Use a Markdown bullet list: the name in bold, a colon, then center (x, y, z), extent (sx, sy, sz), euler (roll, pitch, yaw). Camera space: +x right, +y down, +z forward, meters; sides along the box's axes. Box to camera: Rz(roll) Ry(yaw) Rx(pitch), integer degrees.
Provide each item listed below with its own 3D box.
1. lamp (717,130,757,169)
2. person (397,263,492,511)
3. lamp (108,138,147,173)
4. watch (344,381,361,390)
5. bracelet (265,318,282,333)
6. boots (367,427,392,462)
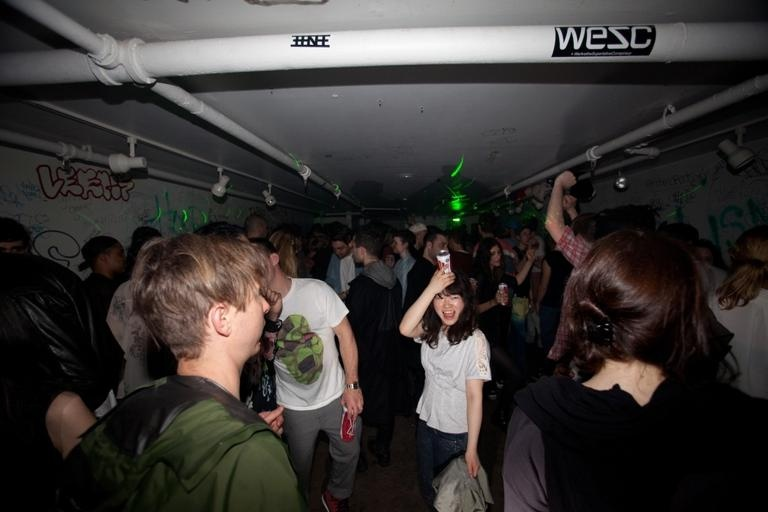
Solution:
- **lamp**: center (3.804, -1.157, 5.113), extent (0.262, 0.277, 0.509), euler (-19, -50, 29)
- **person**: center (0.528, 1.105, 4.039), extent (0.742, 2.005, 0.469), euler (-1, -1, 17)
- **lamp**: center (-2.779, -1.083, 5.180), extent (0.389, 0.366, 0.224), euler (-8, 17, 19)
- **watch**: center (-0.267, 1.160, 4.255), extent (0.096, 0.062, 0.090), euler (1, -12, -28)
- **bracelet**: center (-0.905, 0.580, 3.941), extent (0.136, 0.136, 0.085), euler (1, 4, -13)
- **boots**: center (-0.009, 2.068, 5.197), extent (0.195, 0.329, 0.462), euler (4, 30, -8)
